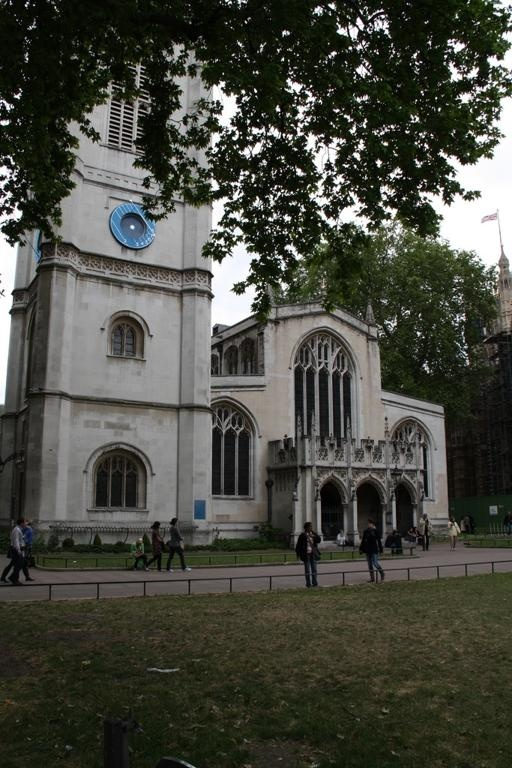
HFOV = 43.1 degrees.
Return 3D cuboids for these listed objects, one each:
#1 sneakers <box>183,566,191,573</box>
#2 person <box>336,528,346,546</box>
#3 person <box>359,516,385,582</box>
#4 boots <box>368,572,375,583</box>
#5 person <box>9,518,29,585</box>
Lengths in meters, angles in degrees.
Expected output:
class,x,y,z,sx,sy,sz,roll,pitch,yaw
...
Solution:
class,x,y,z,sx,sy,sz,roll,pitch,yaw
sneakers,-2.082,5.595,19.675,0.096,0.121,0.285,10,-18,-41
person,4.346,7.947,33.550,0.564,0.807,0.618,0,-5,-7
person,3.111,4.494,17.611,0.607,1.581,1.709,-3,-10,11
boots,3.005,5.011,16.980,0.141,0.247,0.662,-2,-10,9
person,-6.076,4.261,16.551,0.376,1.505,2.569,3,-11,-19
